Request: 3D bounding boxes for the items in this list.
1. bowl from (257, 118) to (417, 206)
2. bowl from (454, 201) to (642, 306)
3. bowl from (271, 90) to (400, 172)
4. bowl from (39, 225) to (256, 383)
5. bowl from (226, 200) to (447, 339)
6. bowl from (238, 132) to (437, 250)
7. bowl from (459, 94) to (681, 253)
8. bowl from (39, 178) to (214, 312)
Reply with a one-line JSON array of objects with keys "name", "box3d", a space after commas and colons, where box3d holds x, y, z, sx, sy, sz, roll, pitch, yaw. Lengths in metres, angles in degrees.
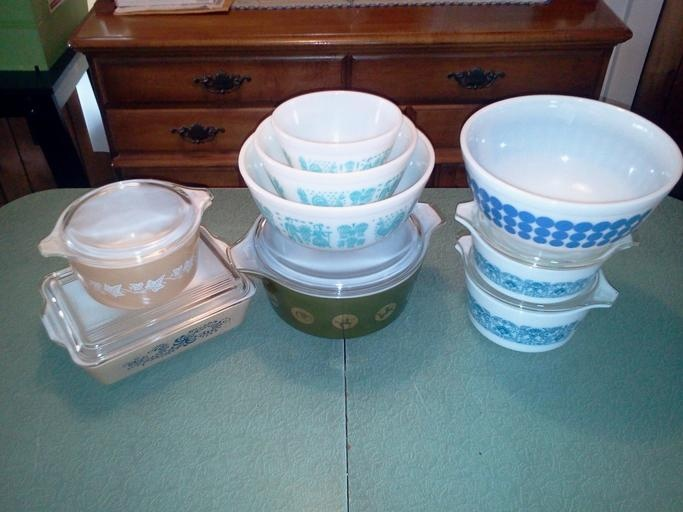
[{"name": "bowl", "box3d": [-0.003, -0.112, 0.686, 0.153, 0.055, 0.155, -2, 37, 2]}, {"name": "bowl", "box3d": [0.255, 0.020, 0.702, 0.170, 0.064, 0.154, -5, 40, 4]}, {"name": "bowl", "box3d": [-0.012, -0.174, 0.710, 0.141, 0.060, 0.142, -2, 36, 1]}, {"name": "bowl", "box3d": [-0.281, 0.061, 0.786, 0.289, 0.096, 0.187, -24, 55, -25]}, {"name": "bowl", "box3d": [0.002, 0.032, 0.766, 0.222, 0.110, 0.187, -8, 39, -5]}, {"name": "bowl", "box3d": [-0.001, -0.115, 0.726, 0.190, 0.070, 0.195, -1, 39, 1]}, {"name": "bowl", "box3d": [0.303, -0.067, 0.782, 0.252, 0.115, 0.252, -3, 48, 3]}, {"name": "bowl", "box3d": [-0.287, -0.003, 0.727, 0.161, 0.105, 0.161, 3, 30, -2]}]
